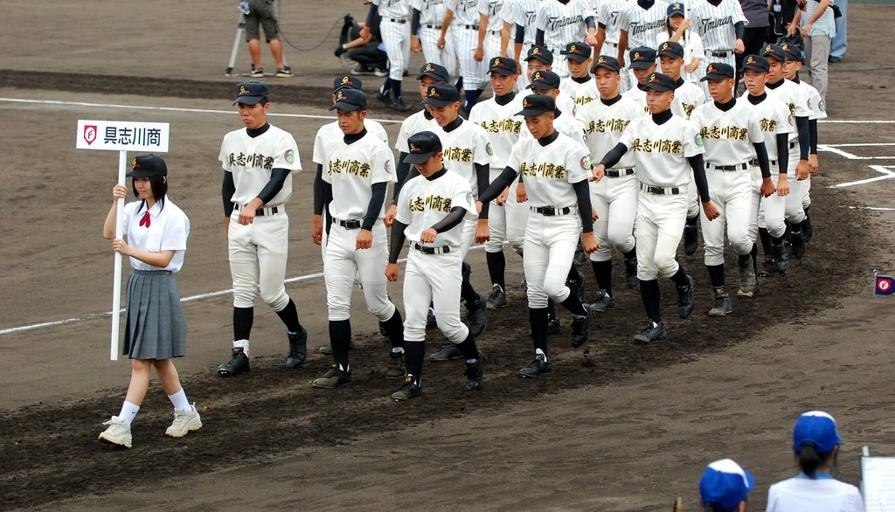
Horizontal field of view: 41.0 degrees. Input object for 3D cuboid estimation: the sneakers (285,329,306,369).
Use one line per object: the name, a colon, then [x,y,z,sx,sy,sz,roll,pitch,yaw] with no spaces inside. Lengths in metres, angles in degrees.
sneakers: [-1.972,1.233,15.956,0.258,0.494,0.268,0,-7,18]

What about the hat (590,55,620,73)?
hat: [2.236,-2.658,16.624,0.335,0.229,0.309,1,11,1]

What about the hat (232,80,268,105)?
hat: [-2.479,-2.129,15.712,0.368,0.185,0.458,3,5,32]

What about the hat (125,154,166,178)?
hat: [-3.595,-1.090,14.457,0.452,0.169,0.319,-2,4,-39]

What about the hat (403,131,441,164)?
hat: [-0.218,-1.372,14.941,0.394,0.241,0.500,13,35,30]

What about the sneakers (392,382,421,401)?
sneakers: [-0.486,1.691,15.217,0.386,0.233,0.198,-1,12,-6]

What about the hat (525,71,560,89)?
hat: [1.358,-2.381,16.217,0.384,0.224,0.315,1,11,2]

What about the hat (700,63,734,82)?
hat: [3.948,-2.585,16.887,0.523,0.191,0.324,-3,8,-29]

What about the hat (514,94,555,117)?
hat: [1.140,-1.938,15.344,0.488,0.152,0.280,-4,13,-15]

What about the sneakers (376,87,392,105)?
sneakers: [-1.269,-3.334,24.969,0.284,0.243,0.432,2,19,-10]

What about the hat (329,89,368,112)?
hat: [-1.235,-2.010,15.418,0.340,0.157,0.436,5,4,35]

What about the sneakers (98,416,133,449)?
sneakers: [-3.968,2.091,14.329,0.371,0.388,0.232,-2,12,-14]

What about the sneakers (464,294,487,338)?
sneakers: [0.393,0.835,16.513,0.266,0.539,0.323,-3,-1,38]

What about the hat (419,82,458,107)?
hat: [-0.061,-2.129,15.833,0.338,0.303,0.437,9,14,38]

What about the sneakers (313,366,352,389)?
sneakers: [-1.479,1.558,15.500,0.575,0.160,0.240,-5,13,-22]

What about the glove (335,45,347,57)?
glove: [-2.419,-4.656,27.352,0.205,0.153,0.492,0,-7,-13]

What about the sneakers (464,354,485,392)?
sneakers: [0.381,1.487,15.365,0.229,0.440,0.260,2,3,22]

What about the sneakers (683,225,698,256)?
sneakers: [3.873,-0.257,18.733,0.236,0.467,0.254,1,-3,24]

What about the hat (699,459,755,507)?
hat: [2.841,2.223,11.943,0.467,0.248,0.574,12,32,27]

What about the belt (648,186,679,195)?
belt: [3.005,-0.907,16.434,0.445,0.108,0.064,2,12,8]

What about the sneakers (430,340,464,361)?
sneakers: [-0.064,1.290,16.150,0.619,0.218,0.177,-1,-2,-8]

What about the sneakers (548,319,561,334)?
sneakers: [1.514,0.956,16.590,0.201,0.194,0.113,-2,12,-10]

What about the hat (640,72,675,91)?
hat: [2.888,-2.351,16.170,0.397,0.118,0.287,0,3,-44]

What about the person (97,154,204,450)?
person: [-3.614,0.519,14.439,1.159,3.435,1.045,-2,13,-10]

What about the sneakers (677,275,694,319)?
sneakers: [3.438,0.566,16.855,0.276,0.555,0.314,6,15,32]

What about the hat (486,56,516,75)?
hat: [0.801,-2.618,16.522,0.287,0.141,0.347,10,-4,32]

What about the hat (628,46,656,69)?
hat: [2.791,-2.782,16.861,0.335,0.281,0.249,1,11,3]

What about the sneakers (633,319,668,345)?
sneakers: [2.806,1.036,16.240,0.592,0.212,0.238,-8,12,-31]
